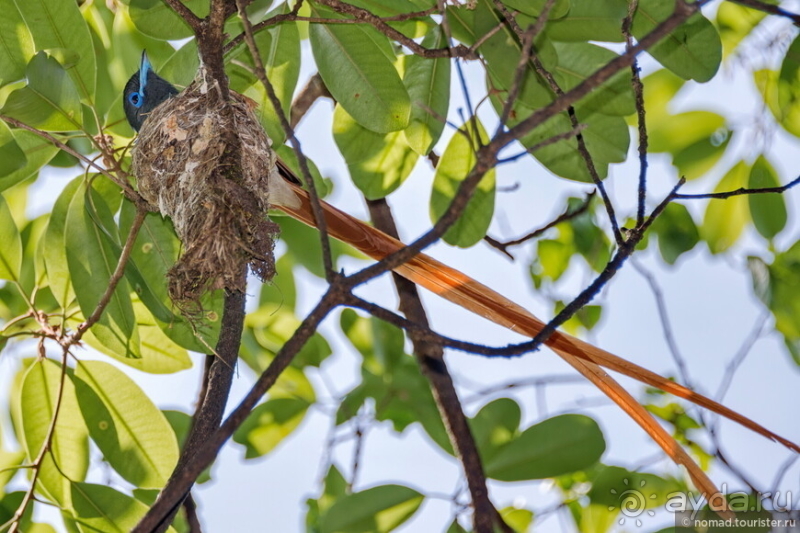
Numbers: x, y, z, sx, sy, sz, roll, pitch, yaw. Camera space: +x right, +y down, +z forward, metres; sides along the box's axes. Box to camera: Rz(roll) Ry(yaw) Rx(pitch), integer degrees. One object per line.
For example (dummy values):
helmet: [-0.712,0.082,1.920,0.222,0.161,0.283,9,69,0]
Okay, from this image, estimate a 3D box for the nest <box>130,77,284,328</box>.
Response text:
nest: [-1.176,-0.478,5.463,0.714,0.491,1.259,33,-20,-26]
